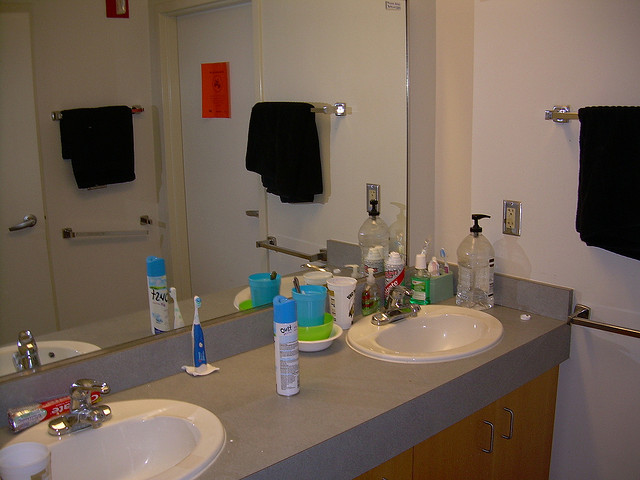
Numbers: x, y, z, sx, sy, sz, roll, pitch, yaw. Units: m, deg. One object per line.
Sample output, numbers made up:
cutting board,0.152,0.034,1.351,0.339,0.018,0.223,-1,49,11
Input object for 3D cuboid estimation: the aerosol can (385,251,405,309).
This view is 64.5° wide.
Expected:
aerosol can,0.297,0.144,2.015,0.073,0.170,0.103,-2,11,7

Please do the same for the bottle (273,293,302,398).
bottle,-0.083,0.302,1.511,0.075,0.288,0.156,2,12,23

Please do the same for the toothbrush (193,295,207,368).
toothbrush,-0.382,0.289,1.589,0.038,0.219,0.100,-6,11,-14

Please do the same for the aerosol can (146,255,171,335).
aerosol can,-0.509,0.170,1.592,0.063,0.244,0.031,-8,12,-25

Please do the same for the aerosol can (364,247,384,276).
aerosol can,0.228,0.088,2.100,0.092,0.111,0.038,-10,13,-30

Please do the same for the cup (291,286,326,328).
cup,-0.032,0.226,1.733,0.119,0.141,0.123,0,-1,0

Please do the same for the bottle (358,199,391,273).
bottle,0.247,-0.007,2.073,0.177,0.305,0.143,-8,12,-23

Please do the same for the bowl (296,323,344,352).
bowl,0.021,0.344,1.776,0.089,0.050,0.241,6,15,39

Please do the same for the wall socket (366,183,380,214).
wall socket,0.221,-0.179,2.112,0.076,0.119,0.014,-9,13,-30

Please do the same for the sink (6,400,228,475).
sink,-0.514,0.545,1.321,0.556,0.149,0.265,-3,12,3

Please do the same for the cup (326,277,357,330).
cup,0.090,0.233,1.920,0.130,0.186,0.145,-1,12,2

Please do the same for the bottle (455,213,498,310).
bottle,0.655,0.096,2.122,0.158,0.416,0.164,-3,11,1
